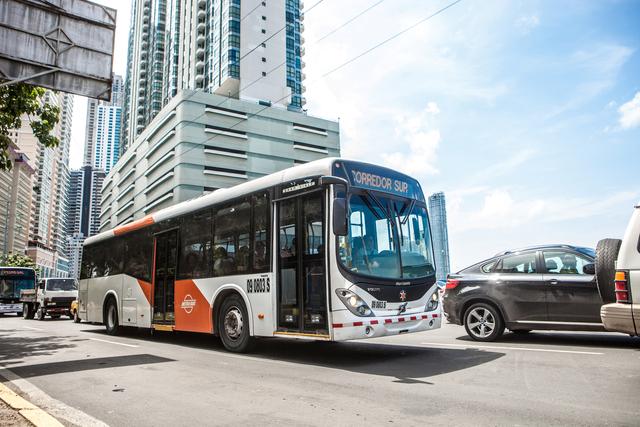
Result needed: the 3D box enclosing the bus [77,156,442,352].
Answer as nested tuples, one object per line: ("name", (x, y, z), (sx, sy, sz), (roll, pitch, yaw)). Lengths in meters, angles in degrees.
("bus", (-3.576, 2.019, 14.181), (4.153, 3.972, 14.088), (9, -16, -38))
